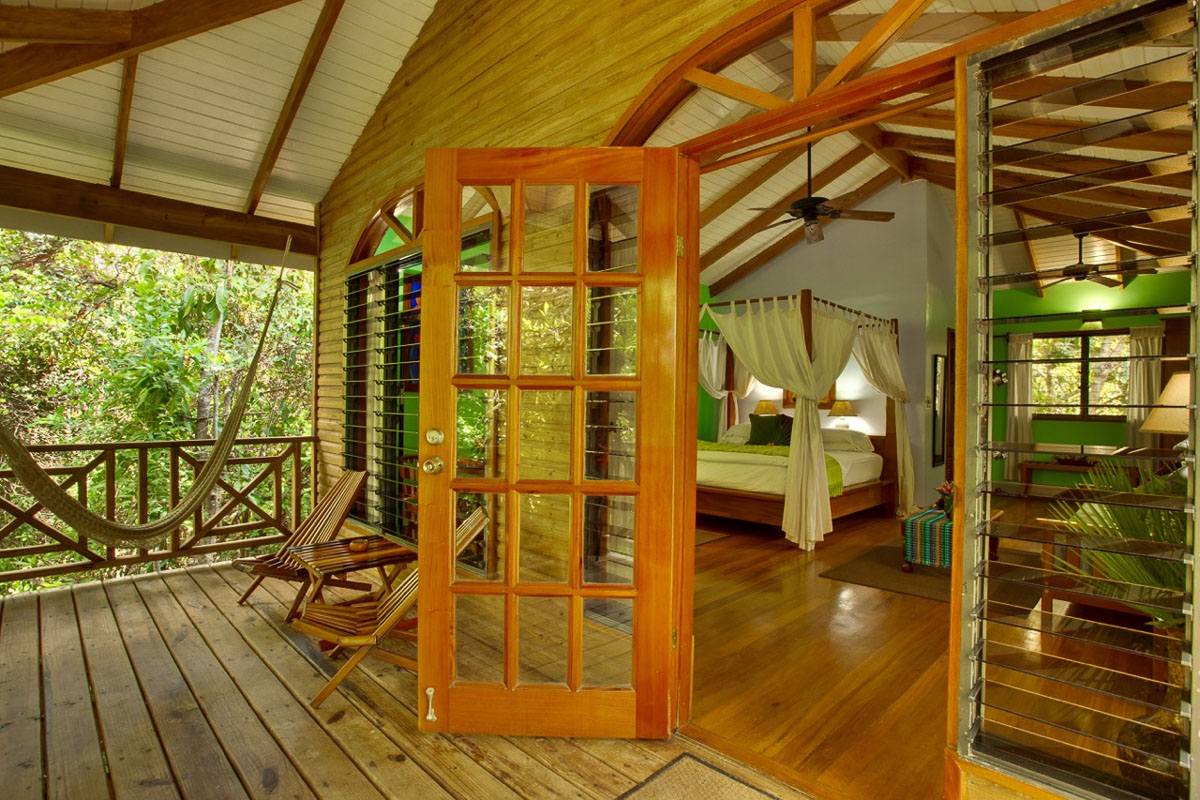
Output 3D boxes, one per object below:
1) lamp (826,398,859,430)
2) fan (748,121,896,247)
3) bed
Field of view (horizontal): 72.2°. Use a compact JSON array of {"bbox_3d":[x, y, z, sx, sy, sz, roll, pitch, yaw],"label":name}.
[{"bbox_3d":[2.961,0.175,10.066,0.387,0.348,0.371,-1,1,-29],"label":"lamp"},{"bbox_3d":[1.945,-2.009,7.390,1.143,0.864,0.970,1,-15,-13],"label":"fan"},{"bbox_3d":[2.142,0.818,9.001,2.495,0.899,1.592,-1,3,-43],"label":"bed"}]
